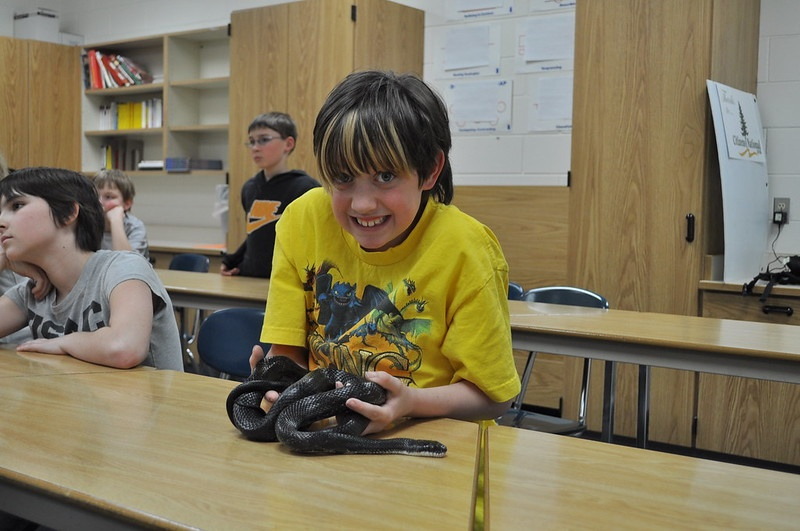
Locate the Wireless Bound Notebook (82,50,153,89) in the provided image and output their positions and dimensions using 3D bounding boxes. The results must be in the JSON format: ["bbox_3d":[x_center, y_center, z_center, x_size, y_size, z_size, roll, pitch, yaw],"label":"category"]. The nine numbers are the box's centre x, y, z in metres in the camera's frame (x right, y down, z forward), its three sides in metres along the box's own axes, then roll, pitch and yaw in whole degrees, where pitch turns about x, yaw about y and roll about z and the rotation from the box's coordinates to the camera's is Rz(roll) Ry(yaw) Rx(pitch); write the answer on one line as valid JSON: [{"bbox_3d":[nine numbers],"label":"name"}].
[{"bbox_3d":[-2.973,-1.996,5.830,0.813,0.473,0.477,3,13,-7],"label":"Wireless Bound Notebook"}]

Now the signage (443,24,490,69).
[{"bbox_3d":[0.519,-1.709,4.241,0.364,0.313,0.039,3,8,13],"label":"signage"}]

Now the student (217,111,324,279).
[{"bbox_3d":[-0.784,-0.329,3.715,0.674,1.343,0.646,6,18,7],"label":"student"}]

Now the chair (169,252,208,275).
[{"bbox_3d":[-1.539,-0.016,3.974,0.204,0.287,0.190,2,4,9],"label":"chair"}]
